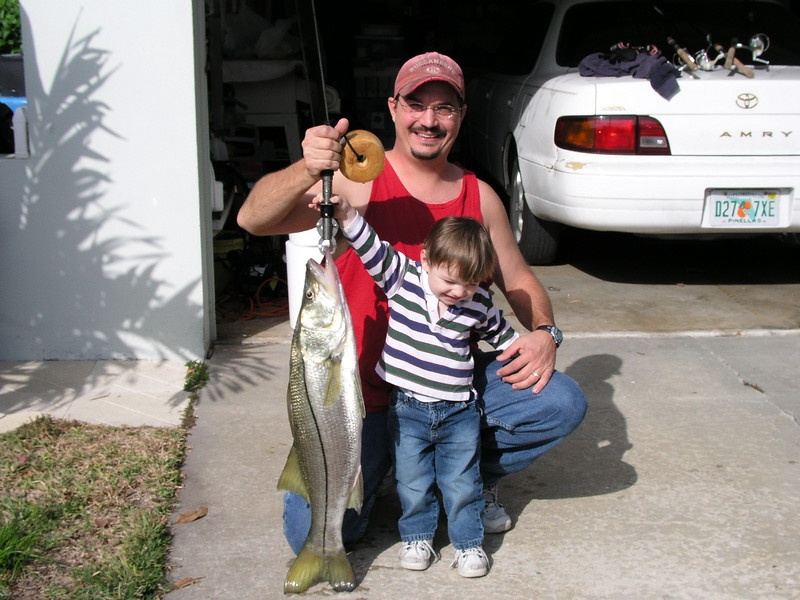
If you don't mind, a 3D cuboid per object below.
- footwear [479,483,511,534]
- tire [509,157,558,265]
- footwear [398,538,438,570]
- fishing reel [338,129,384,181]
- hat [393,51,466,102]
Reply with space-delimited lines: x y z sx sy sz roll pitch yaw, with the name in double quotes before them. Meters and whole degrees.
"footwear" 0.395 0.897 2.818 0.083 0.099 0.236 -3 5 -5
"tire" 1.262 -0.929 6.203 0.407 1.132 1.221 0 -15 12
"footwear" 0.060 0.986 2.589 0.083 0.065 0.165 0 -8 6
"fishing reel" -0.144 -0.522 2.431 0.209 0.184 0.148 -9 15 -27
"hat" 0.129 -0.923 2.762 0.310 0.175 0.378 -2 5 -1
